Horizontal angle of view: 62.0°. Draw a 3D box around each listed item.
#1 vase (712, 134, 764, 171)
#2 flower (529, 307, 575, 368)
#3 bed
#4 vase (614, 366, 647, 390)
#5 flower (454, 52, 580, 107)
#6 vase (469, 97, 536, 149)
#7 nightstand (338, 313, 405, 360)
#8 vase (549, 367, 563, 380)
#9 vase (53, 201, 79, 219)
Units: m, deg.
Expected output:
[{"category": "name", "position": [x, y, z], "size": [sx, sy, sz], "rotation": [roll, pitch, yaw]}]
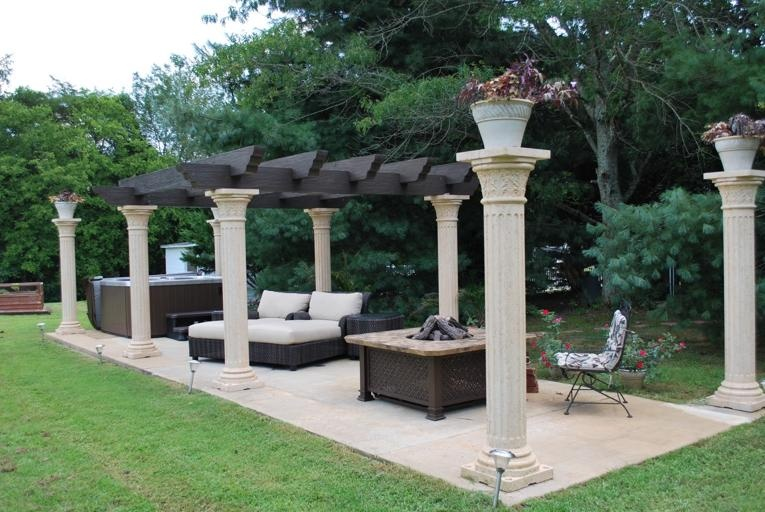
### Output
[{"category": "vase", "position": [5.289, -1.493, 9.448], "size": [0.578, 0.402, 0.556], "rotation": [3, -3, -30]}, {"category": "flower", "position": [3.585, 1.723, 13.423], "size": [0.896, 1.274, 0.905], "rotation": [-5, 9, -10]}, {"category": "bed", "position": [-1.881, 1.728, 13.969], "size": [4.115, 0.913, 3.867], "rotation": [-2, 2, 21]}, {"category": "vase", "position": [4.099, 1.993, 10.420], "size": [0.365, 0.243, 0.351], "rotation": [2, -5, -21]}, {"category": "flower", "position": [1.558, -2.020, 7.393], "size": [1.330, 0.548, 0.494], "rotation": [0, 10, 6]}, {"category": "vase", "position": [1.410, -1.540, 7.403], "size": [0.618, 0.420, 0.621], "rotation": [-4, -1, 28]}, {"category": "nightstand", "position": [-0.186, 1.550, 13.008], "size": [1.055, 0.934, 1.166], "rotation": [0, -2, -38]}, {"category": "vase", "position": [3.065, 2.058, 11.210], "size": [0.230, 0.167, 0.228], "rotation": [-1, -1, 20]}, {"category": "vase", "position": [-8.364, -1.216, 16.722], "size": [0.528, 0.378, 0.510], "rotation": [1, -1, -8]}]
